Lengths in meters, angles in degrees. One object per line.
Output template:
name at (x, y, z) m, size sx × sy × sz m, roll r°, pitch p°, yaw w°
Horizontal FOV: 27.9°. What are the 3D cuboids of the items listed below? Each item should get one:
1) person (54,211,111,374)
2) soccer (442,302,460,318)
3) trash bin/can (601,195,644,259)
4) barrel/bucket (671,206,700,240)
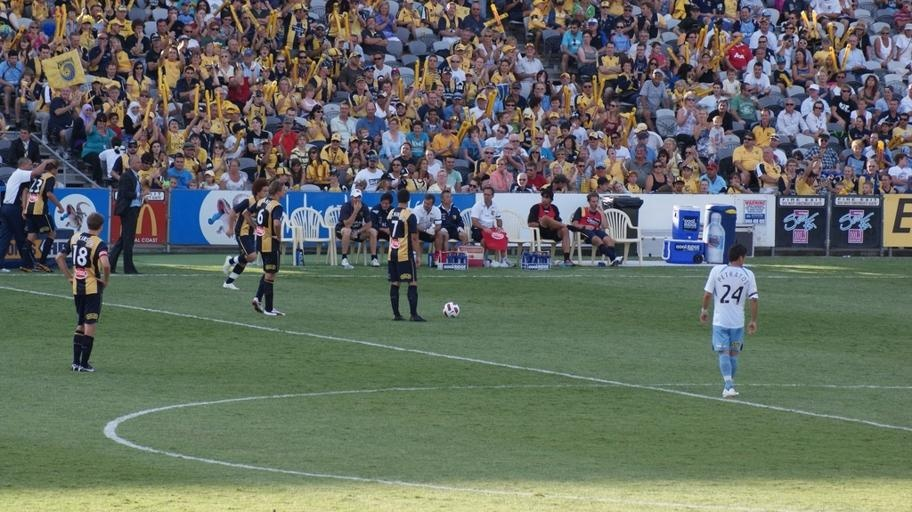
person at (-9.132, 0.871, 45.446) m, size 1.163 × 3.915 × 0.904 m, roll 1°, pitch 1°, yaw -10°
soccer at (-0.050, 1.460, 50.002) m, size 0.446 × 0.372 × 0.433 m, roll -2°, pitch 5°, yaw -40°
trash bin/can at (5.409, -0.970, 59.079) m, size 1.463 × 2.084 × 1.364 m, roll 0°, pitch 1°, yaw -22°
barrel/bucket at (7.568, -1.106, 59.267) m, size 1.175 × 1.295 × 1.042 m, roll -1°, pitch 8°, yaw -4°
